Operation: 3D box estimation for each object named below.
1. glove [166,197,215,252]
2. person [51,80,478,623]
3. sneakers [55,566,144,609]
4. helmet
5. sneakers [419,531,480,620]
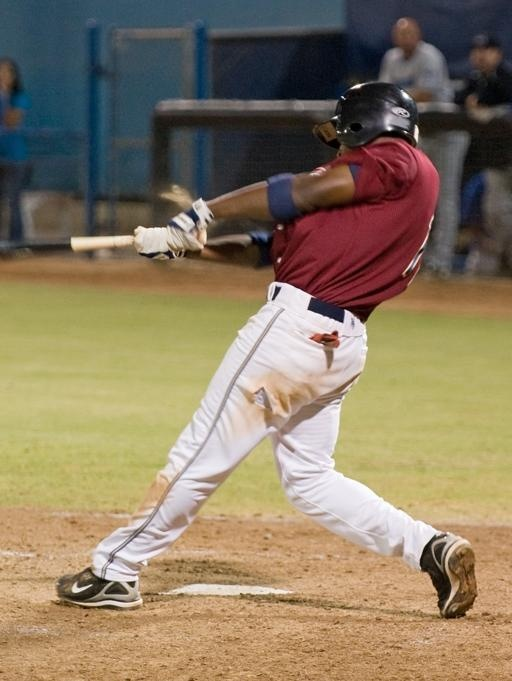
[{"bbox_3d":[-0.164,-0.317,2.879,0.165,0.108,0.065,-37,35,-14],"label":"glove"},{"bbox_3d":[0.085,0.029,2.959,1.120,1.520,0.324,1,8,-7],"label":"person"},{"bbox_3d":[-0.454,0.717,3.088,0.271,0.097,0.100,4,-7,6],"label":"sneakers"},{"bbox_3d":[0.322,-0.613,2.930,0.308,0.146,0.196,4,-1,10],"label":"helmet"},{"bbox_3d":[0.570,0.647,2.994,0.166,0.272,0.108,2,35,24],"label":"sneakers"}]
